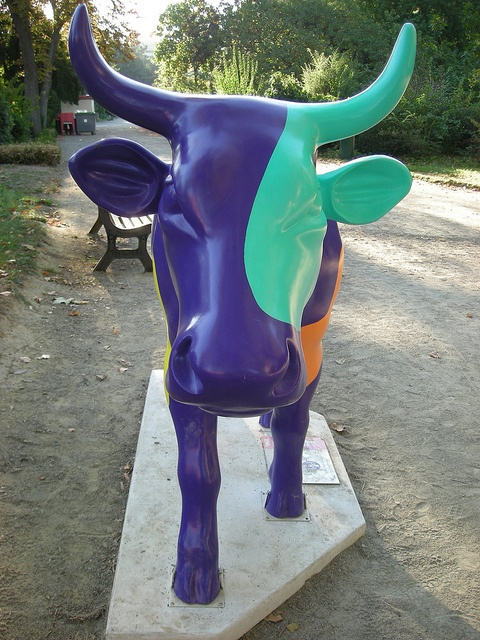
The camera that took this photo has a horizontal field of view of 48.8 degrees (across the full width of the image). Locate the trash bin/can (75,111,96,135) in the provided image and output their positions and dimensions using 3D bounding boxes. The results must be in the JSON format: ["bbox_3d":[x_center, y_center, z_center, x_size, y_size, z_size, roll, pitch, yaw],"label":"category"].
[{"bbox_3d":[-7.255,-9.205,24.856,0.943,1.149,1.132,-1,27,-14],"label":"trash bin/can"}]

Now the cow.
[{"bbox_3d":[-0.132,0.027,2.133,1.088,2.314,1.222,17,26,24],"label":"cow"}]
